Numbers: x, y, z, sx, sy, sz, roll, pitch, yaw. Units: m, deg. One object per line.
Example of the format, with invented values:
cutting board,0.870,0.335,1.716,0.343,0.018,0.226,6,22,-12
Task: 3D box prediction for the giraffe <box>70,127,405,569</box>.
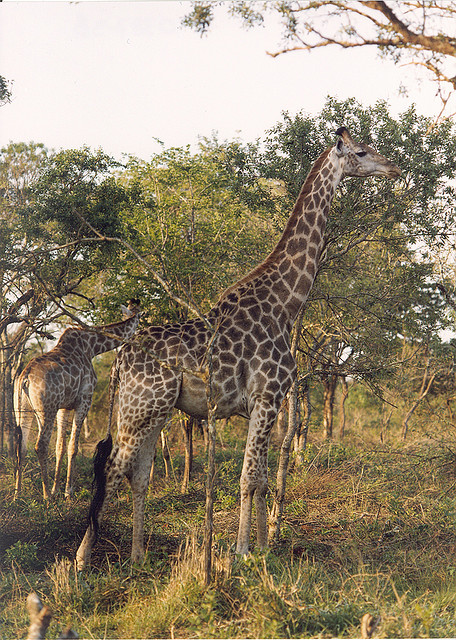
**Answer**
giraffe,0.002,0.193,9.906,2.732,5.149,1.756,7,-6,-11
